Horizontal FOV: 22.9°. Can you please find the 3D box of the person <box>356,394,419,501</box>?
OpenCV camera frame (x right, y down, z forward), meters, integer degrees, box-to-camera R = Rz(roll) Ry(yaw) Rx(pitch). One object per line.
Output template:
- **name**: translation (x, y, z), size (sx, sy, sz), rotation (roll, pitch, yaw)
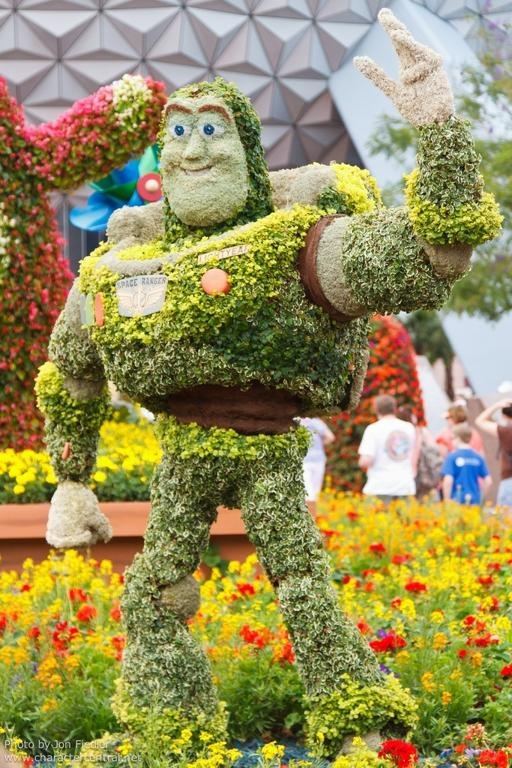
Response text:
- **person**: translation (0.924, 0.472, 8.786), size (0.442, 0.796, 0.306), rotation (6, 20, -3)
